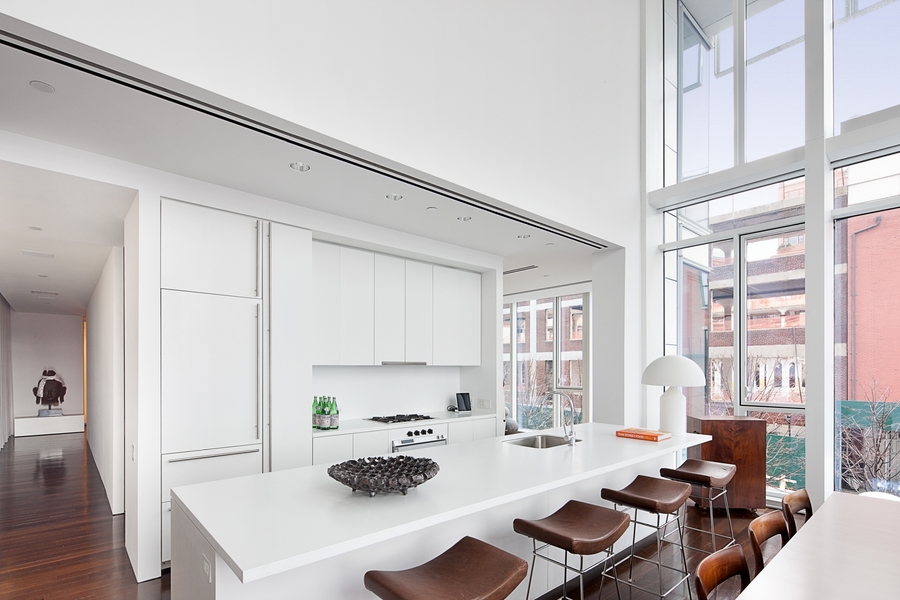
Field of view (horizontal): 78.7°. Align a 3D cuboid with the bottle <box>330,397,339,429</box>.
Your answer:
[{"bbox_3d":[-1.296,1.285,6.158,0.097,0.320,0.554,2,11,-11],"label":"bottle"}]

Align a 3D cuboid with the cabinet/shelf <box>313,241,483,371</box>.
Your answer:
[{"bbox_3d":[-0.685,0.173,6.772,0.392,1.300,2.874,-4,-7,44],"label":"cabinet/shelf"}]

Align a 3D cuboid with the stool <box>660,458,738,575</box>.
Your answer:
[{"bbox_3d":[2.310,1.894,5.035,0.573,0.706,0.551,-4,5,-23],"label":"stool"}]

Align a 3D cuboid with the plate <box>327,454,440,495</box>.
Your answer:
[{"bbox_3d":[-0.463,1.182,3.732,0.717,0.195,0.405,2,11,-11],"label":"plate"}]

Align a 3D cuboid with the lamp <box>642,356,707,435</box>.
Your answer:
[{"bbox_3d":[2.196,0.920,5.450,0.746,0.873,0.730,0,-2,15],"label":"lamp"}]
